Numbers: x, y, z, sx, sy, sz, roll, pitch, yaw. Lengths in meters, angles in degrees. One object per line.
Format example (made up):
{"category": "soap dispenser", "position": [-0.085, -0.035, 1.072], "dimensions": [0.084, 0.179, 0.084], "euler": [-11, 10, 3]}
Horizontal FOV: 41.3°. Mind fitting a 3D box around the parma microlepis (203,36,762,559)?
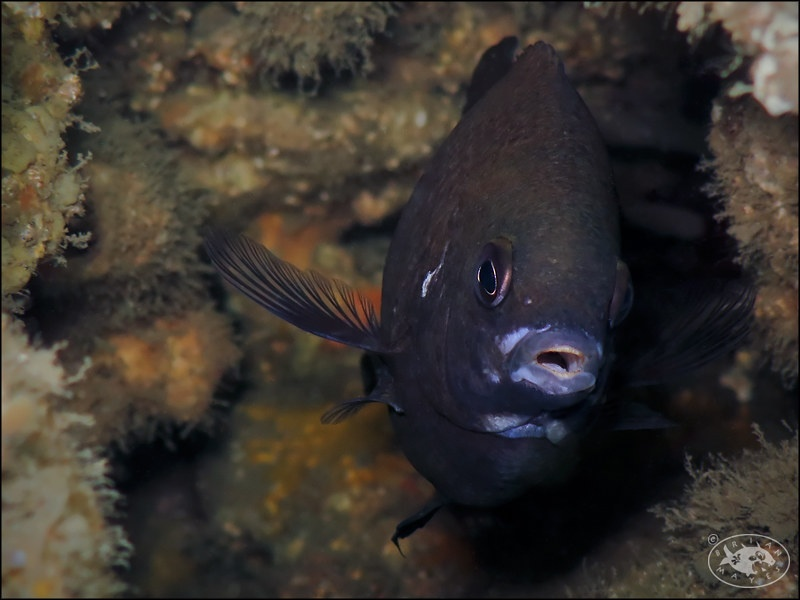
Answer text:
{"category": "parma microlepis", "position": [0.511, -0.017, 5.131], "dimensions": [2.122, 1.055, 1.874], "euler": [-35, 77, -5]}
